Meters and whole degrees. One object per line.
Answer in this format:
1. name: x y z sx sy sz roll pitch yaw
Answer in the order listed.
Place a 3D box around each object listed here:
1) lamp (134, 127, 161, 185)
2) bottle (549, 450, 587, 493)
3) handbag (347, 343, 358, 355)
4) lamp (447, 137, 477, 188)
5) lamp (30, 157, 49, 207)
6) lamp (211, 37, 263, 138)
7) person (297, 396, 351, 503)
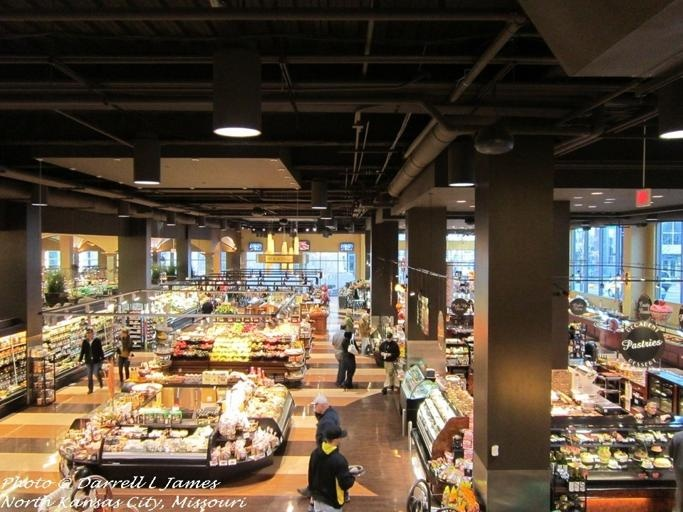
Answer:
1. lamp: -2.670 -1.349 7.051 0.347 0.720 0.242 -3 8 -13
2. bottle: 2.916 2.840 6.763 0.380 0.182 0.521 0 1 -33
3. handbag: 0.311 2.268 12.433 0.220 0.328 0.346 2 2 4
4. lamp: 1.670 -1.318 7.020 0.371 0.672 0.358 2 9 23
5. lamp: -5.801 -1.393 9.835 0.265 0.804 1.736 -6 9 -29
6. lamp: -1.058 -1.681 5.210 0.483 0.887 0.369 -3 8 -12
7. person: -0.238 2.730 7.313 0.619 1.384 0.582 -3 -4 -22
